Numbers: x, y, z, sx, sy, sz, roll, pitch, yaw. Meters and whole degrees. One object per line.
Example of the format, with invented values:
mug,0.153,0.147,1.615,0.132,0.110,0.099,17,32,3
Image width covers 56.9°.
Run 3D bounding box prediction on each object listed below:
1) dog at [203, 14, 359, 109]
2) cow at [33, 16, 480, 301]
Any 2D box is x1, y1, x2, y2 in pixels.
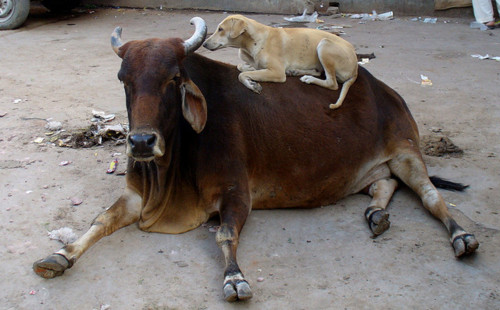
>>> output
dog,0.471,-1.359,6.446,2.115,1.075,0.980,1,16,-3
cow,0.263,-0.014,7.031,5.636,3.346,2.802,-1,-1,-31
